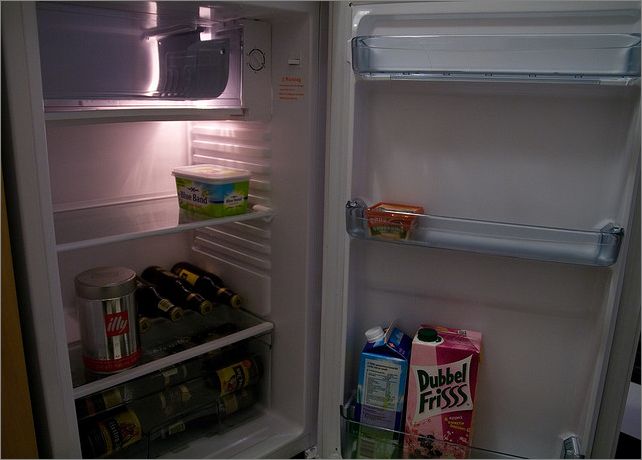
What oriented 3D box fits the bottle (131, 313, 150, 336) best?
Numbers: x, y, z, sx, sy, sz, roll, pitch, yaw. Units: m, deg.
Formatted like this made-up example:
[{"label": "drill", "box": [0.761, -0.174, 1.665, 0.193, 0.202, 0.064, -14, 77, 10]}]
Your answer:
[{"label": "bottle", "box": [-0.587, 0.315, 1.501, 0.055, 0.079, 0.024, -4, 8, -30]}]
